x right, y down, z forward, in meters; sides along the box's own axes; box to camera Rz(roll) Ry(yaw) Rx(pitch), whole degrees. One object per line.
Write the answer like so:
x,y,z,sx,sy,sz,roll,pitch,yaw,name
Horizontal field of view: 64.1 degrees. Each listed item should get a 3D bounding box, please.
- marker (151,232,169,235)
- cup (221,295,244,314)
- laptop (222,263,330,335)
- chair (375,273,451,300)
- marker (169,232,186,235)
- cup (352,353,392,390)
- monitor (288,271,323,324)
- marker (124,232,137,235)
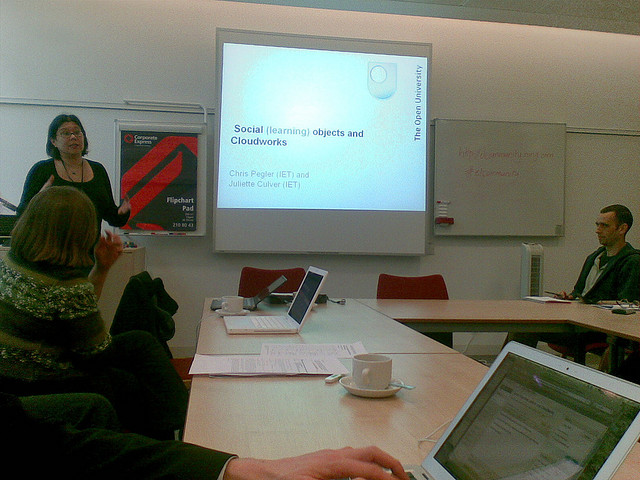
-1.380,-0.059,4.445,0.144,0.022,0.043,4,10,3,marker
-0.454,0.336,2.675,0.097,0.071,0.080,-3,3,7,cup
-0.190,0.288,2.326,0.319,0.227,0.353,2,-4,-8,laptop
0.681,0.341,3.792,0.512,0.167,0.113,2,9,-3,chair
-1.237,-0.061,4.470,0.136,0.018,0.010,1,9,-14,marker
0.151,0.403,1.530,0.108,0.104,0.145,1,-1,26,cup
-0.065,0.249,2.332,0.164,0.163,0.233,25,-2,-13,monitor
-1.604,-0.060,4.410,0.076,0.021,0.013,1,32,-5,marker
